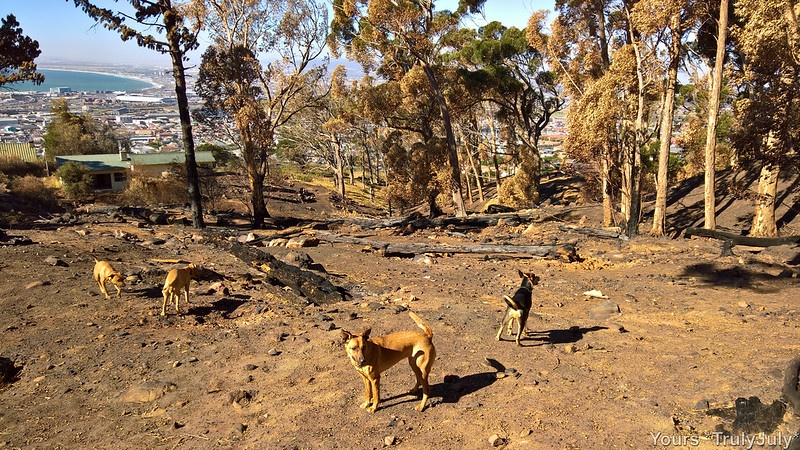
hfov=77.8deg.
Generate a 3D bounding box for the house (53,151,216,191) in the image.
[{"bbox_3d":[-29.123,-5.914,52.554,9.817,3.556,6.821,-7,15,-28],"label":"house"}]

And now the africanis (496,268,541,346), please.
[{"bbox_3d":[3.848,2.776,16.416,0.910,1.958,1.593,5,15,20],"label":"africanis"}]

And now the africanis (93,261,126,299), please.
[{"bbox_3d":[-10.479,2.038,17.912,1.823,0.871,0.468,37,25,34],"label":"africanis"}]

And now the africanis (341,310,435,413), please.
[{"bbox_3d":[-0.374,4.164,14.593,3.261,2.537,1.233,-1,3,-37],"label":"africanis"}]
